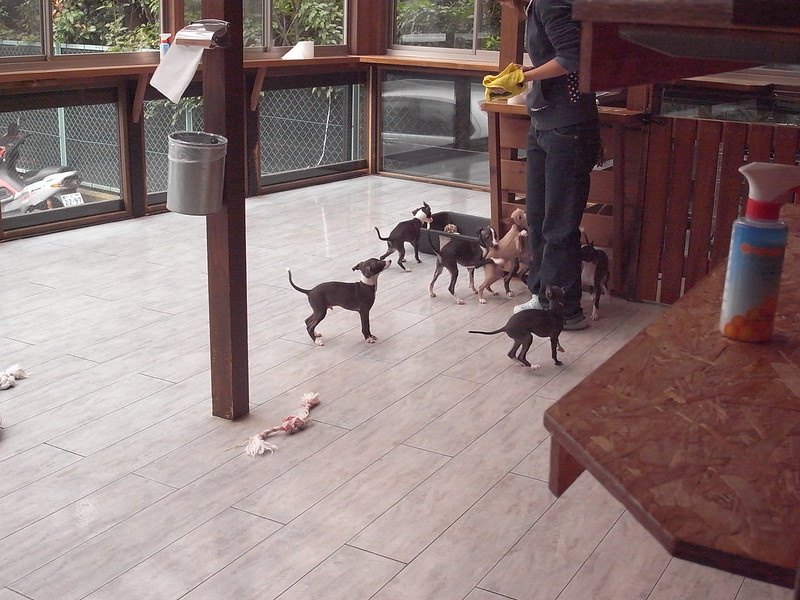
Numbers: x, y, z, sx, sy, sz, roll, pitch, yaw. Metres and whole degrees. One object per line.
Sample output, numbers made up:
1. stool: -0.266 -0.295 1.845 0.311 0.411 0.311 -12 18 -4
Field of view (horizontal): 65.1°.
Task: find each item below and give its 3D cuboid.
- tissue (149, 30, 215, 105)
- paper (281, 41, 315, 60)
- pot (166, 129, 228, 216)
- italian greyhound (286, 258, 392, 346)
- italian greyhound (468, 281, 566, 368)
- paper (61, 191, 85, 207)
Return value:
1. tissue: -0.783 -0.840 2.244 0.204 0.262 0.354 -11 23 -22
2. paper: -0.992 -2.494 6.319 0.338 0.131 0.260 -20 32 -37
3. pot: -0.718 -0.454 2.244 0.244 0.245 0.259 10 29 -6
4. italian greyhound: -0.285 0.008 3.257 0.615 0.405 0.206 -4 1 18
5. italian greyhound: 0.671 0.129 3.091 0.277 0.378 0.287 8 24 24
6. paper: -2.658 -0.808 5.093 0.045 0.106 0.189 1 6 35
